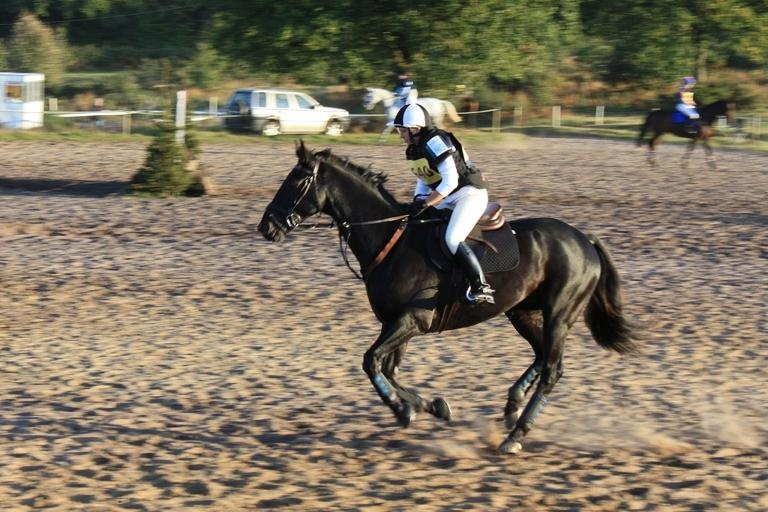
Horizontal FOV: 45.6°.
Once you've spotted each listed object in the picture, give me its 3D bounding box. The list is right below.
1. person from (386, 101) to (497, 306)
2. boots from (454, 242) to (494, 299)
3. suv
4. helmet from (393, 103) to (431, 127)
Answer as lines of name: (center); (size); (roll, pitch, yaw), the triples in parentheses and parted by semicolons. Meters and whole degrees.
person: (0.800, -0.629, 10.707); (0.784, 2.296, 1.304); (-10, 21, -34)
boots: (1.063, 0.206, 10.621); (0.368, 0.734, 0.389); (-6, 20, -26)
suv: (-3.625, -5.311, 33.685); (4.030, 1.683, 1.371); (-2, 16, -16)
helmet: (0.334, -1.644, 10.704); (0.428, 0.281, 0.290); (2, 15, 1)
